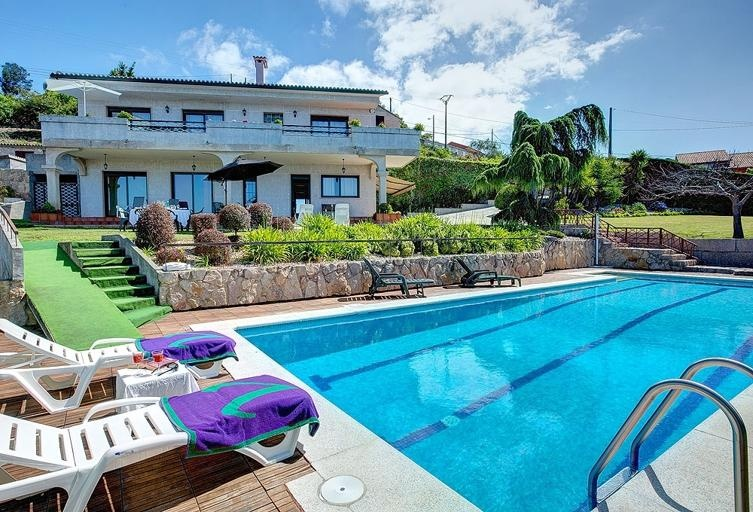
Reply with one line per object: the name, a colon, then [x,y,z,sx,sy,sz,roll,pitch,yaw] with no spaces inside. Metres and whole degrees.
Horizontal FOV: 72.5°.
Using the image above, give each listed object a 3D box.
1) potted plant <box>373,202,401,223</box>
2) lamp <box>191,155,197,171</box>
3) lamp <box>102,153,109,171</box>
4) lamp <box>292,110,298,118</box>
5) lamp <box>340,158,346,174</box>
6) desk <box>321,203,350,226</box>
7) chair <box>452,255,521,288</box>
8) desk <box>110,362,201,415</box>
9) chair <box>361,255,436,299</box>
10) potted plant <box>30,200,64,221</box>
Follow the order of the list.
potted plant: [0.544,-2.169,27.214,1.338,1.278,1.430,0,2,-10]
lamp: [-9.550,-4.787,26.914,0.265,0.701,0.542,-3,8,-21]
lamp: [-13.791,-4.715,26.216,0.283,0.711,0.704,-4,9,-28]
lamp: [-4.461,-7.795,28.216,0.179,0.431,0.165,1,-5,-16]
lamp: [-1.790,-4.801,28.022,0.248,0.684,0.697,-1,8,-6]
desk: [-1.977,-2.072,24.606,1.563,0.768,7.706,-1,7,-4]
chair: [4.196,0.576,18.717,2.264,1.039,1.123,0,2,-9]
desk: [-4.236,2.334,9.809,1.005,0.508,0.980,1,2,-41]
chair: [0.708,0.671,16.834,2.258,1.216,1.182,-1,3,-8]
potted plant: [-15.574,-1.933,24.375,1.379,1.394,0.930,0,0,-39]
